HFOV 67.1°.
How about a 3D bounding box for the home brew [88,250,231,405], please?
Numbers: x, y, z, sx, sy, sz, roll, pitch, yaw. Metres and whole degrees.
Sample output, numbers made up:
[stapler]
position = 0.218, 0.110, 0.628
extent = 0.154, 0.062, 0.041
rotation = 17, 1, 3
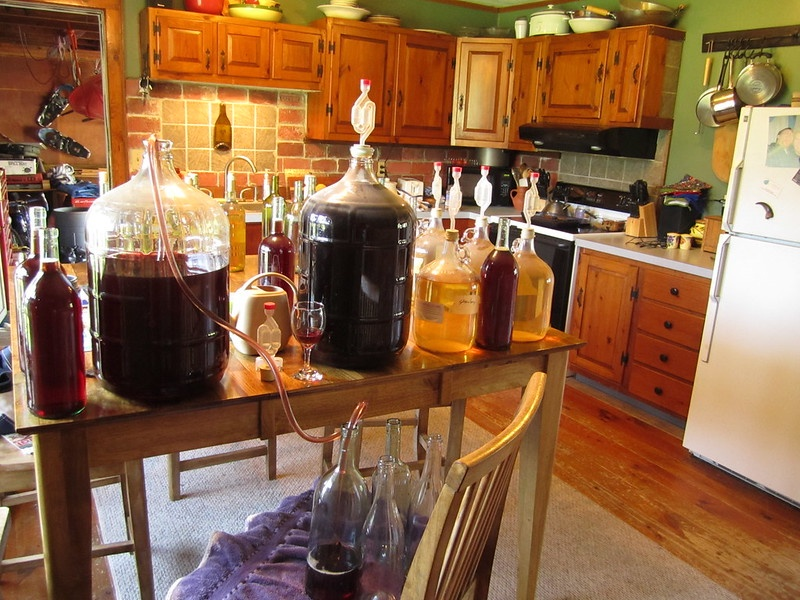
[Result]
[home brew]
position = -0.480, 0.048, 1.454
extent = 0.328, 0.345, 0.334
rotation = 0, 4, -3

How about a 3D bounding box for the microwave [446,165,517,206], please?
[microwave]
position = 0.703, -1.098, 5.714
extent = 0.648, 0.390, 0.391
rotation = 2, 24, -3

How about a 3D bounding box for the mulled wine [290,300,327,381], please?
[mulled wine]
position = -0.236, 0.108, 1.549
extent = 0.056, 0.201, 0.093
rotation = -7, 19, -36
